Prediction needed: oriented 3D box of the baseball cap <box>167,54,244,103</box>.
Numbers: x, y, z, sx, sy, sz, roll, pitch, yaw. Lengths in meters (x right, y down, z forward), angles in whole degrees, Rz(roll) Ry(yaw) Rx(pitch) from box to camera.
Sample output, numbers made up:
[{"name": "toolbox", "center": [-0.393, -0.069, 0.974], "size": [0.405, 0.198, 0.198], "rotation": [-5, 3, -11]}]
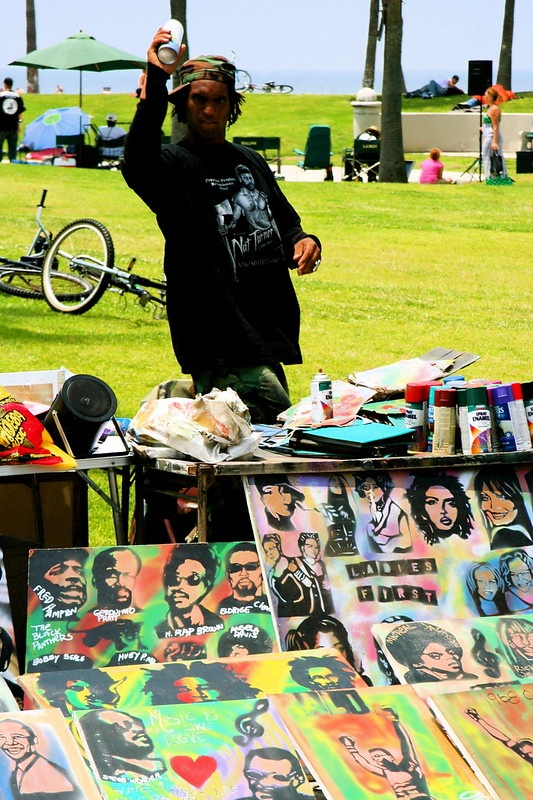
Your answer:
[{"name": "baseball cap", "center": [-0.272, -1.410, 3.762], "size": [0.291, 0.196, 0.240], "rotation": [3, 12, -4]}]

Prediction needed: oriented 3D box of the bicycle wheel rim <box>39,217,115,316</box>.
[{"name": "bicycle wheel rim", "center": [-2.262, -1.538, 9.936], "size": [0.167, 1.141, 1.228], "rotation": [21, 7, 25]}]

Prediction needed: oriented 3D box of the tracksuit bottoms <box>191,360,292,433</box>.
[{"name": "tracksuit bottoms", "center": [-0.103, -0.015, 4.035], "size": [0.397, 0.138, 0.293], "rotation": [11, -5, -25]}]

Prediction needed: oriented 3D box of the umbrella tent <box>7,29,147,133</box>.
[{"name": "umbrella tent", "center": [-4.335, -7.567, 20.005], "size": [2.850, 2.037, 2.871], "rotation": [-22, 40, -36]}]

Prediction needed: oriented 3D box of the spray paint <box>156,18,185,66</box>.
[{"name": "spray paint", "center": [-0.370, -1.371, 3.253], "size": [0.092, 0.198, 0.238], "rotation": [3, 12, -8]}]
